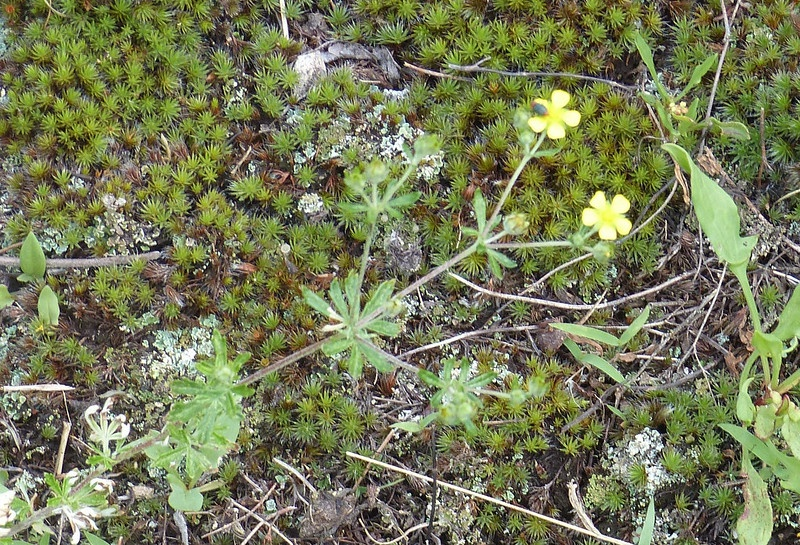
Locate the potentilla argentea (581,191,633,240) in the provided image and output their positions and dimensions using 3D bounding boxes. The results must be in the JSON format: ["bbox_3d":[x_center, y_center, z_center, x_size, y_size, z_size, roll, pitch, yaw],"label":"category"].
[{"bbox_3d":[1.238,-0.316,4.520,0.267,0.340,0.340,9,57,12],"label":"potentilla argentea"}]
